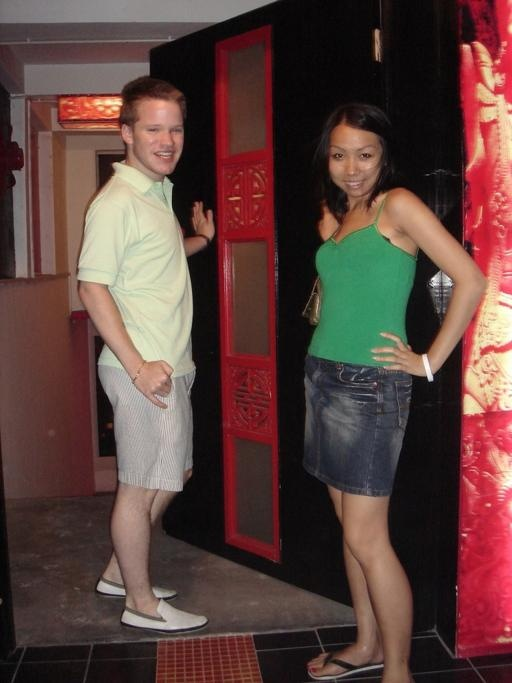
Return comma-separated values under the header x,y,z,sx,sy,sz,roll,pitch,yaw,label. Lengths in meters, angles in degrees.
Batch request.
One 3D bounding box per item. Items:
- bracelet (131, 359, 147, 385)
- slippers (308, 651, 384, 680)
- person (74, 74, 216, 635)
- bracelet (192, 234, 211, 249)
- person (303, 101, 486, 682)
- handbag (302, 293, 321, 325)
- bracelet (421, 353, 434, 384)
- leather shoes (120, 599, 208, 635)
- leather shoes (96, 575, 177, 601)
x,y,z,sx,sy,sz,roll,pitch,yaw,label
-0.301,0.080,1.601,0.035,0.055,0.019,-1,2,-13,bracelet
0.234,0.827,1.614,0.178,0.043,0.071,3,-10,-9,slippers
-0.317,0.058,1.825,0.319,1.601,0.511,-1,2,-6,person
-0.197,-0.368,2.266,0.049,0.049,0.050,-18,27,7,bracelet
0.279,0.160,1.502,0.234,1.418,0.509,-2,3,-34,person
0.165,-0.098,1.846,0.048,0.091,0.093,12,1,-14,handbag
0.378,0.062,1.375,0.012,0.052,0.052,-14,15,10,bracelet
-0.271,0.814,1.871,0.245,0.090,0.099,3,-4,-6,leather shoes
-0.397,0.823,2.068,0.293,0.090,0.104,1,-3,-2,leather shoes
